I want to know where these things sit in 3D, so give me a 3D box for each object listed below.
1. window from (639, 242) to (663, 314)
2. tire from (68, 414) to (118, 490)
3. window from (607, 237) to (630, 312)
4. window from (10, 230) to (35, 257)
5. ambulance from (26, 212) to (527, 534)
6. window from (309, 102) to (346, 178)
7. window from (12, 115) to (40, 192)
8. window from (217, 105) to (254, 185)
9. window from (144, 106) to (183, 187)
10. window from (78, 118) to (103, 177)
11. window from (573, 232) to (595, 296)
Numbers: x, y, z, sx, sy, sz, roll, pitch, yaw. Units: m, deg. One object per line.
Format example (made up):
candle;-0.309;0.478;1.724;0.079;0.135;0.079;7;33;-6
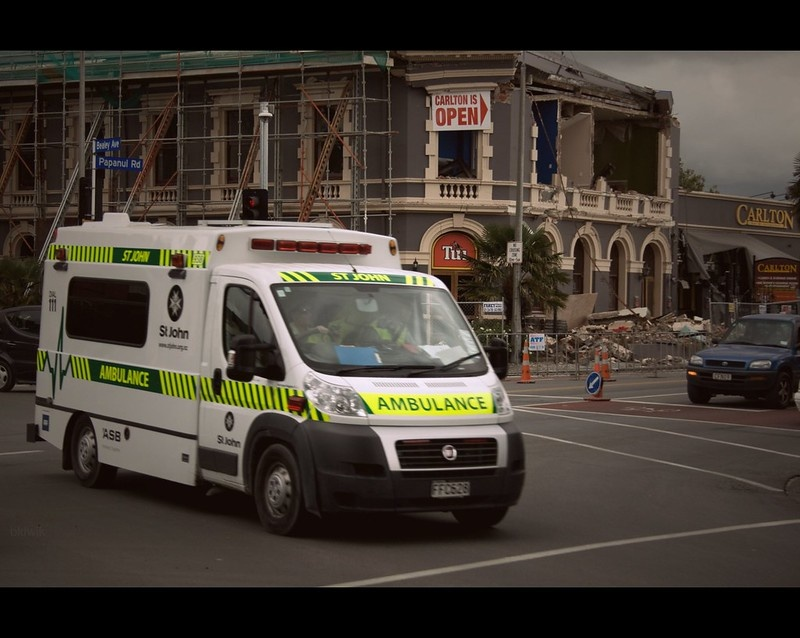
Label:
window;11.005;-1.801;41.682;1.026;2.912;0.213;-1;13;-38
tire;-3.472;1.481;10.629;0.289;0.969;0.842;1;-1;-44
window;9.369;-1.939;40.082;1.165;2.881;0.530;0;3;-29
window;-15.277;-3.144;37.809;0.376;1.100;1.115;3;-2;3
ambulance;-1.605;0.461;10.634;2.782;3.288;6.327;5;-4;-42
window;-2.633;-6.692;34.794;0.935;2.731;1.519;-1;4;-43
window;-14.870;-6.950;37.131;0.521;2.548;0.310;-5;6;-16
window;-6.222;-6.708;35.802;1.329;2.901;0.661;4;12;16
window;-9.054;-6.667;36.089;0.834;2.821;1.553;0;3;-19
window;-11.321;-6.553;34.374;0.810;2.716;4.381;0;3;-17
window;7.582;-2.265;38.646;1.102;2.232;0.388;-1;3;-33
